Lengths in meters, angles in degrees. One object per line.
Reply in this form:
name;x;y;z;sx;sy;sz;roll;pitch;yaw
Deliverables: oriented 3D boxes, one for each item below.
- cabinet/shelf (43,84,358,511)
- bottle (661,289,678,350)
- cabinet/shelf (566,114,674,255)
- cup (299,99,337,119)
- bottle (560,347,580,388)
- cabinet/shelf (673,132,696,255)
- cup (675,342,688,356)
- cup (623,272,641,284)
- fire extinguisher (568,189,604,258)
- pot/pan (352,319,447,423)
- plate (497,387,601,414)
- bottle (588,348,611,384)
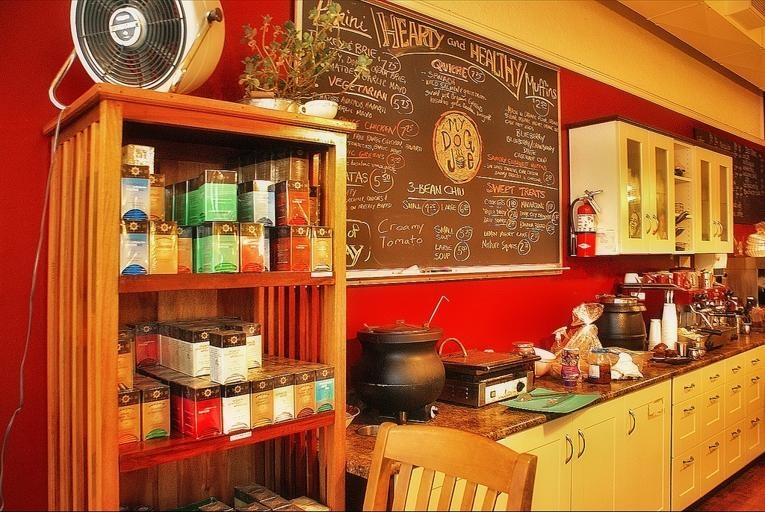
cabinet/shelf;-0.711;0.233;2.331;1.006;1.596;0.533;0;1;-31
bottle;1.959;0.483;4.108;0.103;0.289;0.408;1;1;25
cabinet/shelf;1.596;-0.478;4.111;1.246;0.933;0.516;1;-5;-43
cup;-0.264;-0.588;2.407;0.132;0.049;0.094;-7;6;-20
bottle;1.025;0.612;3.284;0.097;0.201;0.138;1;1;15
cabinet/shelf;2.312;-0.459;4.662;0.230;0.868;0.125;-1;1;-40
cup;1.901;0.596;3.810;0.073;0.084;0.050;0;1;1
cup;1.885;0.169;4.539;0.105;0.074;0.101;-2;-3;0
fire extinguisher;1.372;-0.224;4.065;0.202;0.446;0.091;1;1;15
pot/pan;0.062;0.528;2.808;0.496;0.377;0.439;0;-2;-23
plate;0.836;0.725;2.990;0.343;0.049;0.469;1;1;38
bottle;1.204;0.615;3.330;0.115;0.170;0.149;1;1;18
